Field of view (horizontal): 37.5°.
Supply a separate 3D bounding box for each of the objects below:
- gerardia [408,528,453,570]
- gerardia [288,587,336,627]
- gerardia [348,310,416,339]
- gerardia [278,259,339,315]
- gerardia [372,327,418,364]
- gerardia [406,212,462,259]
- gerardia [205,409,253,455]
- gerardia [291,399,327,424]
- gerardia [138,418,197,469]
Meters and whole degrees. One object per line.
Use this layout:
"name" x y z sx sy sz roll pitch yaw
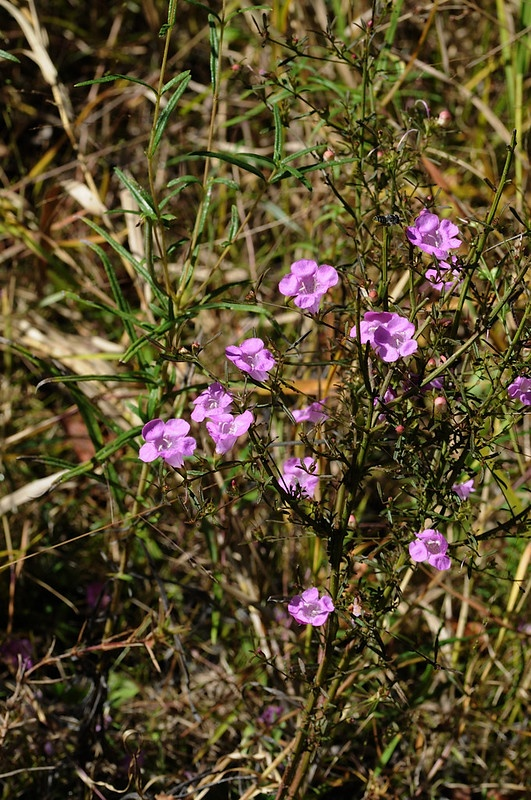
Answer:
"gerardia" 0.279 0.244 1.286 0.073 0.034 0.066 -3 91 22
"gerardia" 0.085 0.363 1.381 0.075 0.031 0.072 -36 85 6
"gerardia" 0.192 -0.115 1.267 0.068 0.028 0.055 3 22 5
"gerardia" 0.071 -0.195 1.299 0.067 0.074 0.043 -10 107 4
"gerardia" 0.204 -0.089 1.225 0.066 0.064 0.065 -3 69 -9
"gerardia" 0.259 -0.258 1.277 0.094 0.042 0.084 -5 75 -38
"gerardia" -0.058 0.053 1.273 0.067 0.033 0.076 8 57 12
"gerardia" 0.090 0.019 1.532 0.055 0.053 0.023 -4 92 -35
"gerardia" -0.163 0.077 1.300 0.086 0.092 0.083 1 68 -8
